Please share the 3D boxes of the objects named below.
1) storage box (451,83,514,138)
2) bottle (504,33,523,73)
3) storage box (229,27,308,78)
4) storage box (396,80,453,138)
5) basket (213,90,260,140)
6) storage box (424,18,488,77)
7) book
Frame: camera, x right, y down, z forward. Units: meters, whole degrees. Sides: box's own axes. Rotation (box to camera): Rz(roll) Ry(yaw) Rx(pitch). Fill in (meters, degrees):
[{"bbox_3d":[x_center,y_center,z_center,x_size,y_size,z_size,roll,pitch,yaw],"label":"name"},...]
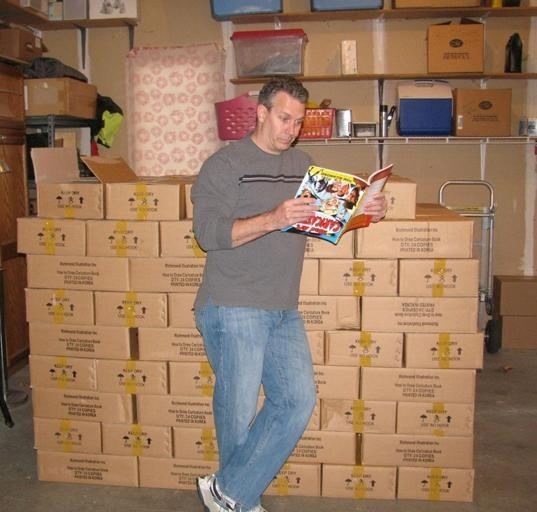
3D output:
[{"bbox_3d":[1.544,-1.043,4.711,0.377,0.315,0.366,0,4,4],"label":"storage box"},{"bbox_3d":[1.820,-1.498,4.839,0.137,0.308,0.219,6,7,18],"label":"bottle"},{"bbox_3d":[0.013,-1.466,4.712,0.542,0.287,0.359,0,5,5],"label":"storage box"},{"bbox_3d":[1.258,-1.156,4.880,0.432,0.406,0.424,12,28,41],"label":"storage box"},{"bbox_3d":[-0.177,-1.029,4.852,0.380,0.322,0.358,3,10,-20],"label":"basket"},{"bbox_3d":[1.333,-1.491,4.694,0.418,0.390,0.394,1,5,9],"label":"storage box"},{"bbox_3d":[0.238,-0.261,2.579,0.416,0.142,0.340,10,45,18],"label":"book"}]
